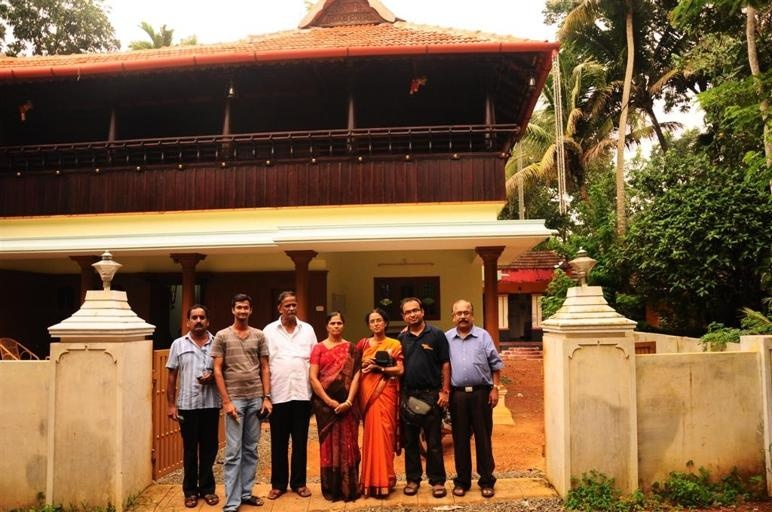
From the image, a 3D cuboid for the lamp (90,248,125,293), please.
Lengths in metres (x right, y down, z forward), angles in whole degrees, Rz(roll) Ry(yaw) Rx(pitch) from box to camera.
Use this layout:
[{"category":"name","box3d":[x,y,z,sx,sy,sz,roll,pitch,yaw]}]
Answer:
[{"category":"lamp","box3d":[-5.381,0.330,16.260,0.507,0.818,0.561,-1,-2,-7]}]

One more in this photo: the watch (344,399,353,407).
[{"category":"watch","box3d":[-0.683,2.734,15.600,0.105,0.111,0.039,-14,32,15]}]

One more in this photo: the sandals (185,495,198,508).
[{"category":"sandals","box3d":[-3.593,4.562,15.651,0.219,0.217,0.112,0,-7,-15]}]

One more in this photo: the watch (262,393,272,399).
[{"category":"watch","box3d":[-2.194,2.625,15.727,0.086,0.090,0.091,-3,-1,25]}]

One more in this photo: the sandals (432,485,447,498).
[{"category":"sandals","box3d":[1.005,4.392,15.763,0.255,0.243,0.162,-2,-7,3]}]

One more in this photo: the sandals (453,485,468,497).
[{"category":"sandals","box3d":[1.395,4.416,15.787,0.271,0.187,0.133,-2,-7,3]}]

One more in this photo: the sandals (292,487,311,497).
[{"category":"sandals","box3d":[-1.562,4.427,15.780,0.324,0.191,0.141,-1,-7,-6]}]

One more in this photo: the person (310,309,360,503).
[{"category":"person","box3d":[-0.936,2.811,15.754,0.899,3.496,0.433,-1,-7,-4]}]

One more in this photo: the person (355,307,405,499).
[{"category":"person","box3d":[-0.086,2.763,15.821,0.852,3.494,0.462,-1,-7,-3]}]

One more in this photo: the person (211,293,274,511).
[{"category":"person","box3d":[-2.662,2.727,15.696,1.072,3.952,0.555,0,-7,-10]}]

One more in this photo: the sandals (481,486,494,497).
[{"category":"sandals","box3d":[1.936,4.429,15.789,0.271,0.188,0.121,1,-8,-23]}]

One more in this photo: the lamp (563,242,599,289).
[{"category":"lamp","box3d":[3.797,0.207,16.325,0.577,0.744,0.609,-3,-2,31]}]

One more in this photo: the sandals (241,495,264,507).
[{"category":"sandals","box3d":[-2.466,4.535,15.590,0.361,0.163,0.174,0,-3,0]}]
